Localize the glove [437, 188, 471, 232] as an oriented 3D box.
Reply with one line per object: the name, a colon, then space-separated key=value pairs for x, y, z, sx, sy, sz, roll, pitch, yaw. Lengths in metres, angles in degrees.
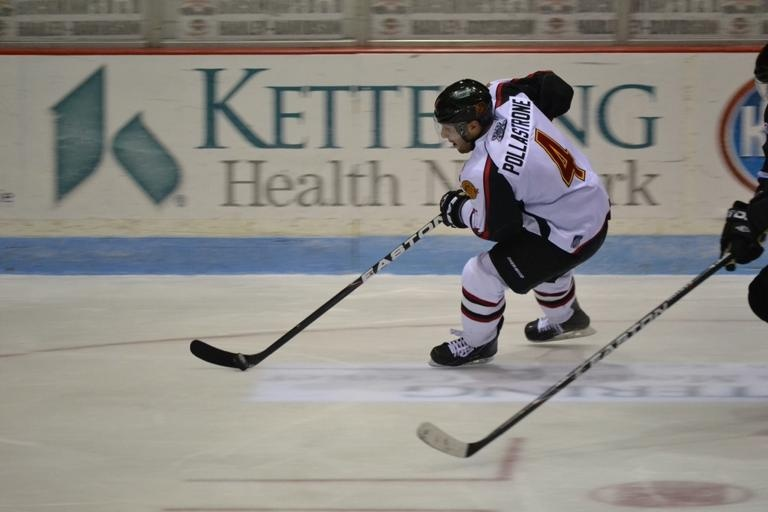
glove: x=0.441 y=-0.301 z=9.709 sx=0.103 sy=0.239 sz=0.201 roll=-20 pitch=18 yaw=46

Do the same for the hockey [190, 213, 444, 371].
hockey: x=-0.409 y=0.272 z=10.712 sx=1.913 sy=0.209 sz=0.473 roll=-23 pitch=60 yaw=-11

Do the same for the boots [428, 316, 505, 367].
boots: x=0.609 y=0.543 z=9.828 sx=0.713 sy=0.357 sz=0.183 roll=-2 pitch=43 yaw=-7

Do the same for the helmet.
helmet: x=0.496 y=-0.865 z=9.599 sx=0.367 sy=0.449 sz=0.165 roll=6 pitch=15 yaw=1

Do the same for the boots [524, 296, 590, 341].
boots: x=1.051 y=0.435 z=10.058 sx=0.633 sy=0.334 sz=0.156 roll=-3 pitch=51 yaw=11

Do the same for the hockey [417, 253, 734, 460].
hockey: x=1.177 y=0.650 z=9.525 sx=0.353 sy=0.045 sz=2.754 roll=33 pitch=36 yaw=27
